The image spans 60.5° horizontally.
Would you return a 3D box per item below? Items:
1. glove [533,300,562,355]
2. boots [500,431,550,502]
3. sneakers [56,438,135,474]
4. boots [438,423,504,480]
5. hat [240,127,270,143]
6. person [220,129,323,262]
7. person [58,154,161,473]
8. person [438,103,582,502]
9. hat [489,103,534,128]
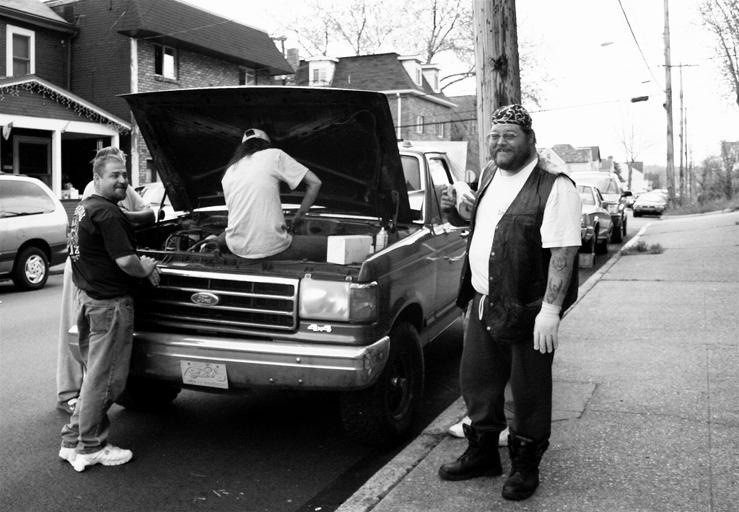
[{"bbox_3d":[1.164,0.471,4.147,0.184,0.346,0.076,-2,8,1],"label":"glove"},{"bbox_3d":[1.035,1.401,4.304,0.349,0.379,0.290,-3,8,-5],"label":"boots"},{"bbox_3d":[-2.144,1.548,4.980,0.572,0.251,0.206,-4,10,-24],"label":"sneakers"},{"bbox_3d":[0.739,1.416,4.574,0.607,0.440,0.233,0,0,-5],"label":"boots"},{"bbox_3d":[-1.071,-1.107,5.815,0.229,0.171,0.163,1,12,25],"label":"hat"},{"bbox_3d":[-0.869,-0.579,5.934,0.985,1.279,0.907,-7,-5,-11],"label":"person"},{"bbox_3d":[-2.112,0.398,5.005,0.822,2.441,0.514,-7,9,-27],"label":"person"},{"bbox_3d":[0.949,0.283,4.334,0.913,2.584,0.675,0,8,19],"label":"person"},{"bbox_3d":[0.977,-0.947,4.332,0.271,0.168,0.180,-7,10,-30],"label":"hat"}]
